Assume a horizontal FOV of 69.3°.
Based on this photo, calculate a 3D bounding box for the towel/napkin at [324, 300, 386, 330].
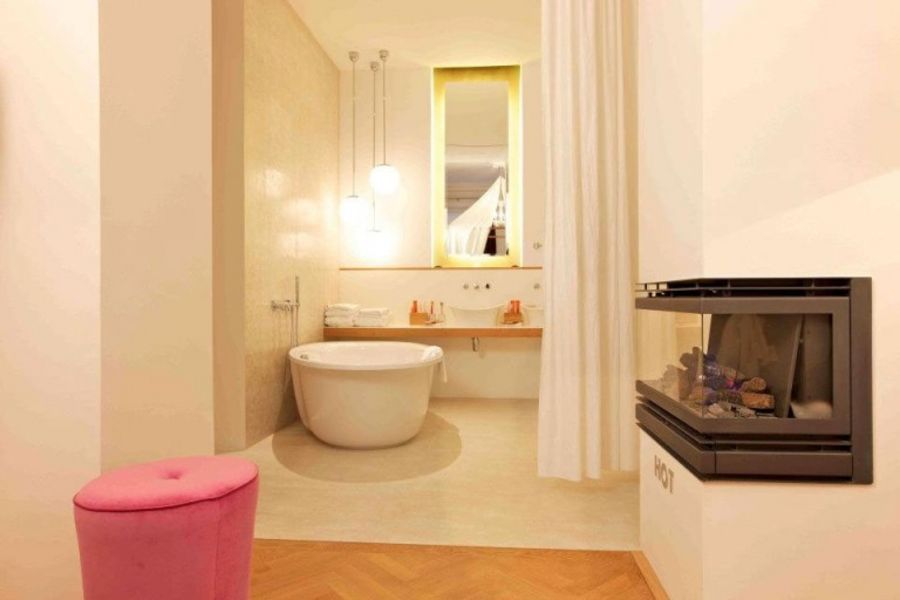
[{"bbox_3d":[-0.799,0.122,5.598,0.576,0.189,0.208,-1,8,-12],"label":"towel/napkin"}]

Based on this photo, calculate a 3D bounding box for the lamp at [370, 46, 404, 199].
[{"bbox_3d":[-0.589,-1.572,5.848,0.249,1.215,0.365,-1,8,-4],"label":"lamp"}]

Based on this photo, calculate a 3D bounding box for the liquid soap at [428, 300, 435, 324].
[{"bbox_3d":[-0.163,0.098,5.836,0.061,0.182,0.130,0,8,-4],"label":"liquid soap"}]

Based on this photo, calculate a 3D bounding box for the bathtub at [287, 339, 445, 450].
[{"bbox_3d":[-0.635,0.655,4.748,1.172,0.546,0.996,1,5,-9],"label":"bathtub"}]

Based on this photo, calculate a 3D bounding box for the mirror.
[{"bbox_3d":[0.236,-1.240,5.993,0.810,1.834,0.355,0,8,-4],"label":"mirror"}]

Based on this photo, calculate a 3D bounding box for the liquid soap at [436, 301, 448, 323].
[{"bbox_3d":[-0.081,0.100,5.855,0.100,0.177,0.073,4,9,23],"label":"liquid soap"}]

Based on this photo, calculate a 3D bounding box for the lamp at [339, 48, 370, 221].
[{"bbox_3d":[-0.884,-1.434,5.854,0.219,1.485,0.422,-1,8,-9],"label":"lamp"}]
